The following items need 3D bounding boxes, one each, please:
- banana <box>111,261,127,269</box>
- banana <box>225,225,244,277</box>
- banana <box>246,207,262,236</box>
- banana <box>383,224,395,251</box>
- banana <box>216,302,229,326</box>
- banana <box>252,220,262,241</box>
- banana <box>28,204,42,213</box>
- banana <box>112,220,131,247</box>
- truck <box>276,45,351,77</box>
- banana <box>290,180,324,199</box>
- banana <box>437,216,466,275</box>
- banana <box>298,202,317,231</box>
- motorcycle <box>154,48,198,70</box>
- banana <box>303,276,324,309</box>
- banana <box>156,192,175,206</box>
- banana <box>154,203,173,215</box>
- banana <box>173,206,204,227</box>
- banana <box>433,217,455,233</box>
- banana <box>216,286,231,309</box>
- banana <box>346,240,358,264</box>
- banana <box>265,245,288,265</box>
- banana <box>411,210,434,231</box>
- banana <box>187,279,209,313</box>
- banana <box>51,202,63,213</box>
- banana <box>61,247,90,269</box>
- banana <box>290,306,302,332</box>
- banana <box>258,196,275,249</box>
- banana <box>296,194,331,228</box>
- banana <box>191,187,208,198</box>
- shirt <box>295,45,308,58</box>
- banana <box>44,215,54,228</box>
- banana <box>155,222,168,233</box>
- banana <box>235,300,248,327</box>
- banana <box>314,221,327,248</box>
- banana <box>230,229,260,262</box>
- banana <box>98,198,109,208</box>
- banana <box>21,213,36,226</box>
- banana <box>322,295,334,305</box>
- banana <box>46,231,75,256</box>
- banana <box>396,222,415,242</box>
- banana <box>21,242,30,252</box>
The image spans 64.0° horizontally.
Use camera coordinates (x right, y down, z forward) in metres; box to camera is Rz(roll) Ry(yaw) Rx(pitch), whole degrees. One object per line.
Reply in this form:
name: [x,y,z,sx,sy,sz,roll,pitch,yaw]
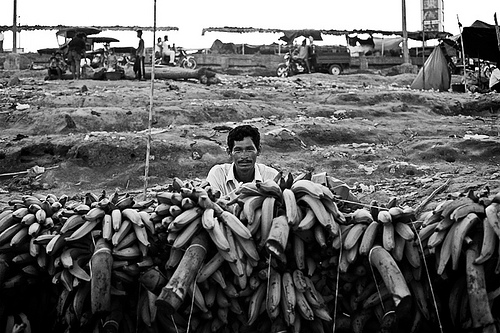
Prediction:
banana: [-0.878,0.650,2.671,0.127,0.039,0.031,-4,11,-33]
banana: [-0.098,0.547,2.588,0.080,0.326,0.100,-26,8,-42]
banana: [0.039,0.369,2.674,0.056,0.215,0.071,20,-8,-14]
banana: [0.909,0.459,2.608,0.073,0.146,0.136,3,8,20]
banana: [-0.188,0.964,2.647,0.072,0.147,0.044,5,-7,-15]
banana: [0.048,0.439,2.718,0.041,0.156,0.051,14,0,-26]
banana: [-1.576,0.302,2.909,0.062,0.041,0.053,-3,8,-29]
banana: [-0.861,0.438,2.741,0.060,0.074,0.210,27,43,0]
truck: [4.144,-7.066,26.229,4.534,2.892,2.206,-2,8,-6]
banana: [0.393,0.144,2.722,0.074,0.103,0.311,13,-1,-32]
banana: [1.326,0.536,2.689,0.101,0.140,0.559,36,42,18]
banana: [0.379,0.336,2.602,0.106,0.051,0.203,8,36,4]
motorcycle: [-5.172,-7.273,26.719,2.943,1.974,1.417,-3,0,-9]
banana: [0.394,0.833,2.671,0.085,0.074,0.273,9,42,-32]
banana: [-0.584,0.214,2.755,0.109,0.077,0.040,10,7,10]
banana: [-0.591,0.285,2.698,0.108,0.072,0.039,-8,-10,5]
banana: [-0.398,0.318,2.638,0.241,0.093,0.071,-32,20,-37]
banana: [1.272,0.373,2.629,0.169,0.063,0.055,-33,10,-40]
banana: [-0.186,0.866,2.623,0.054,0.194,0.116,-9,-3,-16]
banana: [0.673,0.557,2.610,0.077,0.113,0.087,1,8,1]
banana: [0.168,0.569,2.586,0.044,0.173,0.041,-40,31,-4]
banana: [1.216,0.383,2.809,0.109,0.085,0.441,-2,13,29]
banana: [-0.330,0.845,2.600,0.072,0.275,0.092,-16,6,42]
banana: [-1.448,0.301,2.978,0.055,0.062,0.039,3,-36,2]
banana: [-1.195,0.606,2.727,0.045,0.104,0.185,-47,2,8]
banana: [0.301,1.019,2.617,0.052,0.197,0.050,3,0,31]
banana: [0.122,0.353,2.661,0.075,0.365,0.093,5,-22,9]
banana: [0.431,0.288,2.612,0.045,0.209,0.131,-4,-33,-29]
banana: [-0.336,0.167,2.692,0.097,0.063,0.083,1,8,3]
shirt: [3.246,-7.169,25.013,0.417,0.764,1.009,-2,9,-20]
banana: [-1.433,0.392,2.843,0.064,0.058,0.040,35,-5,7]
banana: [-0.607,0.408,2.681,0.037,0.045,0.084,-28,5,0]
banana: [-0.056,0.971,2.661,0.046,0.170,0.057,-18,-21,24]
banana: [0.462,0.444,2.620,0.058,0.179,0.061,-22,-22,12]
banana: [-0.009,0.521,2.653,0.087,0.320,0.110,-30,2,3]
banana: [-1.021,0.252,2.787,0.045,0.022,0.056,-14,8,1]
banana: [-1.574,0.372,2.832,0.045,0.064,0.093,-6,-5,-9]
banana: [0.523,0.895,2.702,0.056,0.022,0.092,18,10,16]
banana: [-1.300,0.530,2.737,0.170,0.193,0.166,-4,9,-28]
banana: [1.023,0.424,2.620,0.090,0.097,0.133,-1,8,-11]
banana: [-1.595,0.569,2.831,0.012,0.053,0.052,7,52,45]
